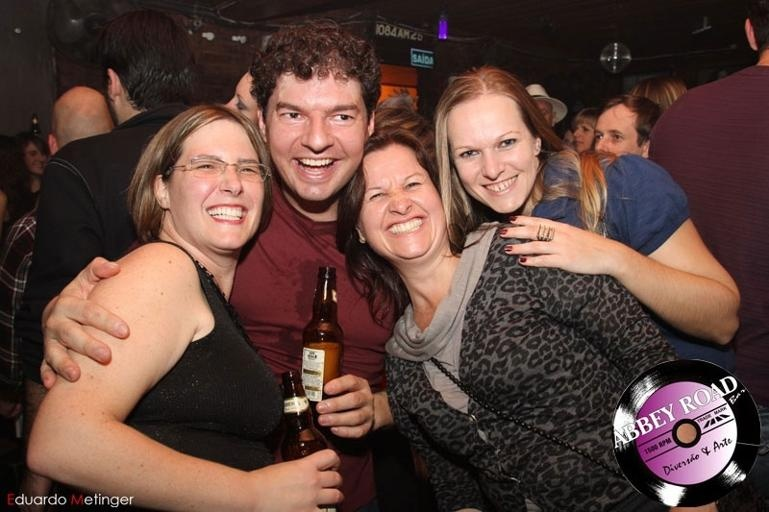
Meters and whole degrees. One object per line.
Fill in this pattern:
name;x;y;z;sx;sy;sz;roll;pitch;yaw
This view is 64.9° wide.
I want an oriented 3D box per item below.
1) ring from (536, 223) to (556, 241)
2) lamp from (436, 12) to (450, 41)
ring;0.755;-0.113;2.834;0.070;0.071;0.026;12;-17;13
lamp;0.619;-2.447;6.383;0.123;0.240;0.056;-1;13;3
